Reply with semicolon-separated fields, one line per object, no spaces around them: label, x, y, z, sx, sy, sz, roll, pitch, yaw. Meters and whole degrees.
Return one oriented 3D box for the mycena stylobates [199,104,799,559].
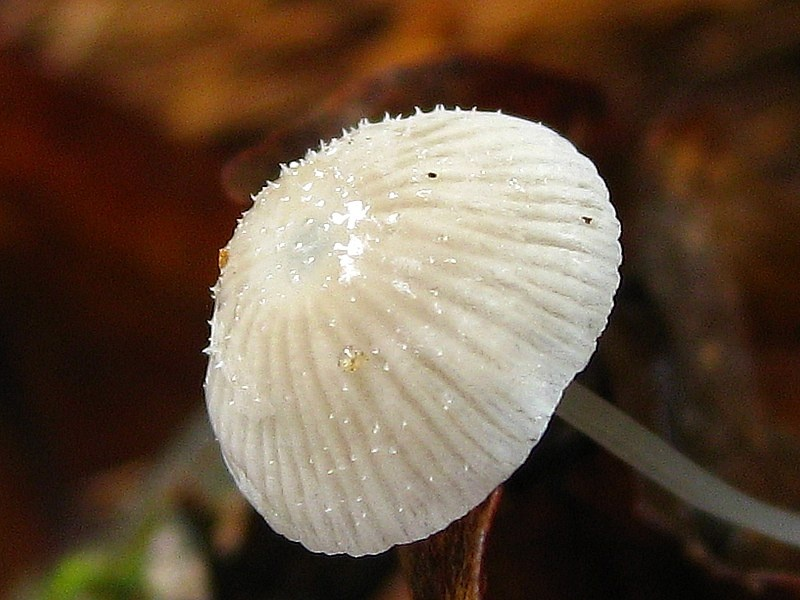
mycena stylobates;-0.005;0.019;1.401;0.540;0.161;0.695;27;78;11
